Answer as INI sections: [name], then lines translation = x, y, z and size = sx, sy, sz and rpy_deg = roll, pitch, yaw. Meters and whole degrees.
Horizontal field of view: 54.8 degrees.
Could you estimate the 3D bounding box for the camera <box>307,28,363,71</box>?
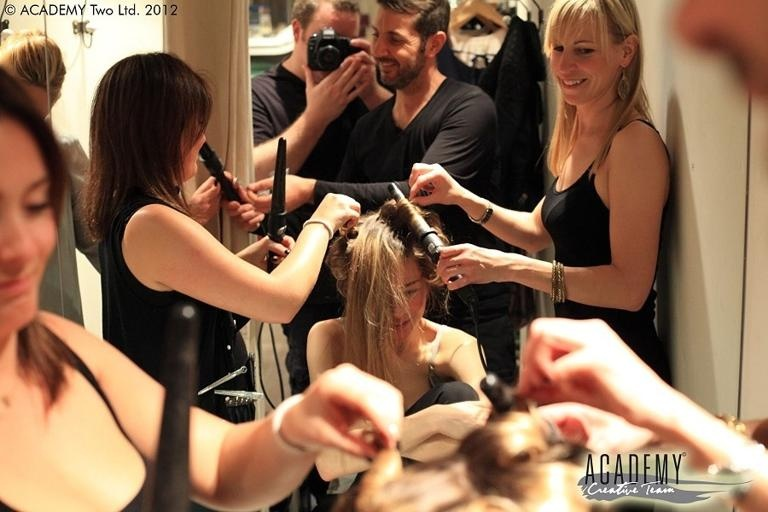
[camera]
translation = -0.144, -0.624, 2.249
size = 0.173, 0.121, 0.134
rpy_deg = -4, 12, -16
